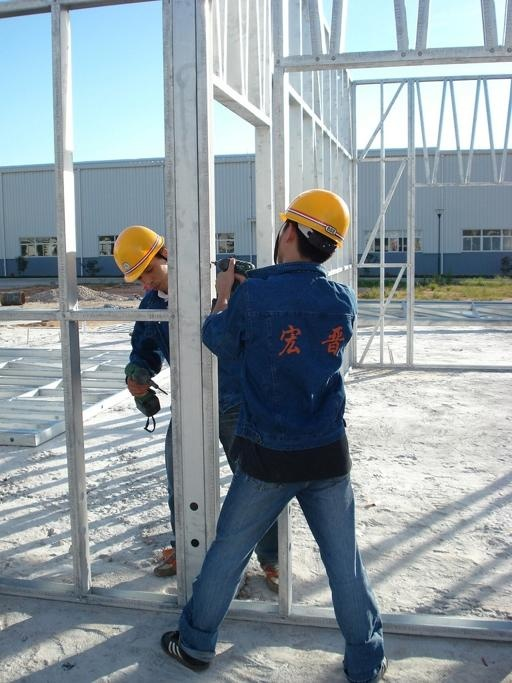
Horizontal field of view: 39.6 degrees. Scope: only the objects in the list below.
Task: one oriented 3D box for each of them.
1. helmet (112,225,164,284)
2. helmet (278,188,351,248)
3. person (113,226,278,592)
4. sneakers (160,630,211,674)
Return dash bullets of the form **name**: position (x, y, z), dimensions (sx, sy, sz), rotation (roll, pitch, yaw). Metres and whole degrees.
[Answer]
- **helmet**: position (-0.590, -0.424, 3.454), dimensions (0.224, 0.269, 0.249), rotation (4, 7, 34)
- **helmet**: position (0.224, -0.470, 2.684), dimensions (0.278, 0.209, 0.220), rotation (21, 7, 29)
- **person**: position (-0.360, 0.320, 3.629), dimensions (0.680, 1.763, 0.659), rotation (-3, 0, -8)
- **sneakers**: position (-0.279, 1.211, 2.811), dimensions (0.089, 0.084, 0.218), rotation (-6, 22, -43)
